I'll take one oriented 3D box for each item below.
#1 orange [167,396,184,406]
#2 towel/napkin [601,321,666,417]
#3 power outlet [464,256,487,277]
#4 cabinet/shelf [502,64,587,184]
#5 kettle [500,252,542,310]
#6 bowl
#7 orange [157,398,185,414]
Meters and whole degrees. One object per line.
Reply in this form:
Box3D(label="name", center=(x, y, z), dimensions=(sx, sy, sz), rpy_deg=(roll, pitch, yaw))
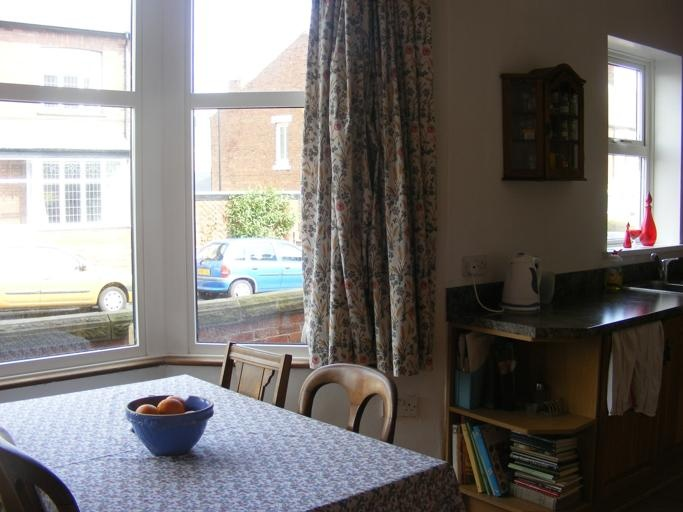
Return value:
Box3D(label="orange", center=(-0.562, 0.483, 1.852), dimensions=(0.048, 0.031, 0.040), rpy_deg=(3, -5, -25))
Box3D(label="towel/napkin", center=(1.473, 0.563, 2.768), dimensions=(0.412, 0.660, 0.085), rpy_deg=(7, -6, -35))
Box3D(label="power outlet", center=(0.735, 0.046, 2.978), dimensions=(0.145, 0.110, 0.044), rpy_deg=(-1, 5, -33))
Box3D(label="cabinet/shelf", center=(1.141, -0.764, 3.111), dimensions=(0.618, 0.703, 0.232), rpy_deg=(-2, 3, -31))
Box3D(label="kettle", center=(0.965, 0.138, 2.898), dimensions=(0.252, 0.310, 0.212), rpy_deg=(0, 1, -18))
Box3D(label="bowl", center=(-0.585, 0.578, 1.859), dimensions=(0.283, 0.176, 0.300), rpy_deg=(4, 0, 0))
Box3D(label="orange", center=(-0.565, 0.493, 1.802), dimensions=(0.047, 0.040, 0.066), rpy_deg=(4, 1, 0))
